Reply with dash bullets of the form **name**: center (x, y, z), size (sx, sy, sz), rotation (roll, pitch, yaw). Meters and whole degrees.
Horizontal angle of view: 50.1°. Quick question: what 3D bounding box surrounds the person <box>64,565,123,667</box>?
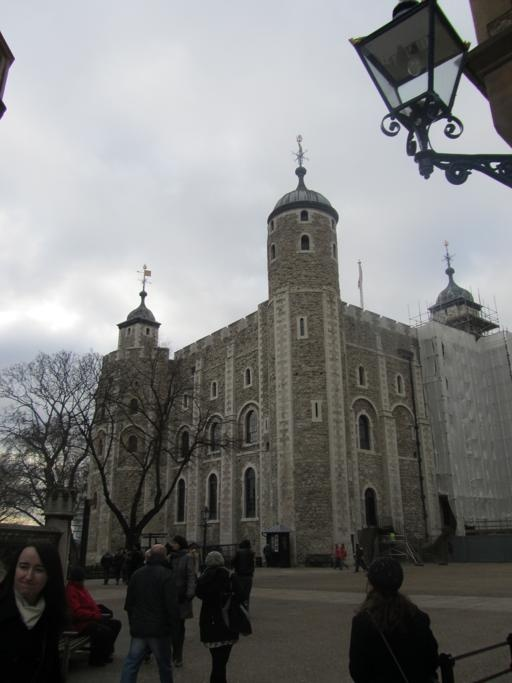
- **person**: center (-2.135, 3.600, 7.196), size (0.722, 1.184, 0.561), rotation (2, -21, -13)

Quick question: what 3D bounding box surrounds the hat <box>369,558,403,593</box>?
- **hat**: center (0.654, 1.185, 2.850), size (0.169, 0.202, 0.202), rotation (1, -4, 1)

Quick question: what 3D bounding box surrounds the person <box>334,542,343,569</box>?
- **person**: center (4.147, 10.711, 27.066), size (0.407, 1.040, 0.930), rotation (-3, -17, 8)

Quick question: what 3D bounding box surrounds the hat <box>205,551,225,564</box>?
- **hat**: center (-0.487, 2.509, 6.356), size (0.179, 0.175, 0.230), rotation (1, -16, -2)
